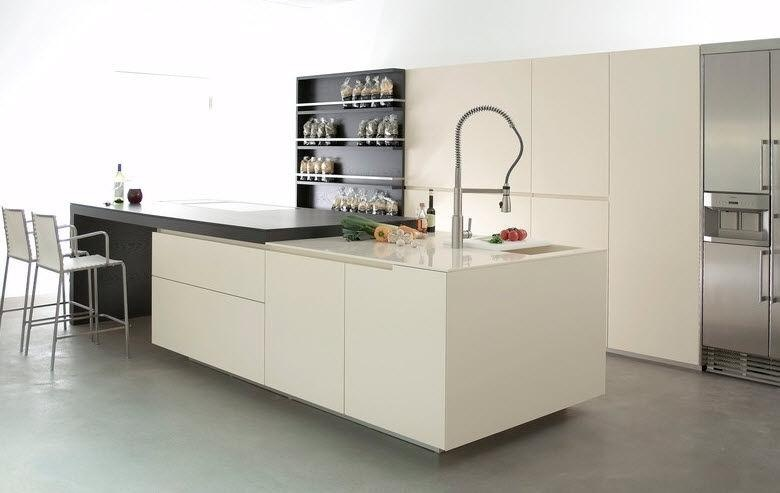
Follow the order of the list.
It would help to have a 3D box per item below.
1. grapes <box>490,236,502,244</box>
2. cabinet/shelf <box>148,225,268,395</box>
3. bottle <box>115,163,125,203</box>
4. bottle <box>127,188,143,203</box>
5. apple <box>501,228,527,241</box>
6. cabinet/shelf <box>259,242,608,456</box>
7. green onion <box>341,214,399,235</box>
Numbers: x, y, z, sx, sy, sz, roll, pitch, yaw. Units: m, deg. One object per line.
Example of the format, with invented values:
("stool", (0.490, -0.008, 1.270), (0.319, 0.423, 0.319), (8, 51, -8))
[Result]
("grapes", (0.768, -0.049, 3.859), (0.018, 0.053, 0.075), (18, -9, -38))
("cabinet/shelf", (-1.472, 0.526, 4.369), (1.310, 0.909, 0.684), (4, 5, 43))
("bottle", (-3.024, -0.701, 5.871), (0.116, 0.410, 0.408), (-6, 12, -27))
("bottle", (-2.807, -0.556, 5.829), (0.160, 0.148, 0.157), (-1, 4, -20))
("apple", (0.912, -0.087, 3.940), (0.129, 0.054, 0.126), (-1, 3, -15))
("cabinet/shelf", (0.303, 0.600, 3.764), (1.556, 0.908, 1.508), (-2, 3, -43))
("green onion", (-0.157, -0.172, 4.113), (0.445, 0.143, 0.124), (0, 28, -4))
